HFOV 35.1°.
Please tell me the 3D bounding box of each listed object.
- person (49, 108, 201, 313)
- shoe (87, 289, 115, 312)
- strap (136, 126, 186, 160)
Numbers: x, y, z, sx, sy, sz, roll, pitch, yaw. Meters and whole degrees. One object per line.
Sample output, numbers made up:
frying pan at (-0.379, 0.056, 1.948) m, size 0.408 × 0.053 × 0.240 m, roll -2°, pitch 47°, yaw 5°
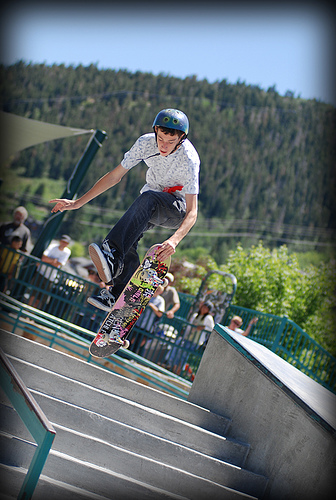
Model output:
person at (-0.168, -0.341, 4.430) m, size 0.868 × 1.616 × 1.321 m, roll 19°, pitch 2°, yaw -42°
shoe at (-0.554, 0.444, 4.589) m, size 0.277 × 0.175 × 0.108 m, roll 33°, pitch -19°, yaw -23°
strap at (-0.053, -0.831, 4.299) m, size 0.330 × 0.267 × 0.368 m, roll 18°, pitch 4°, yaw -7°
